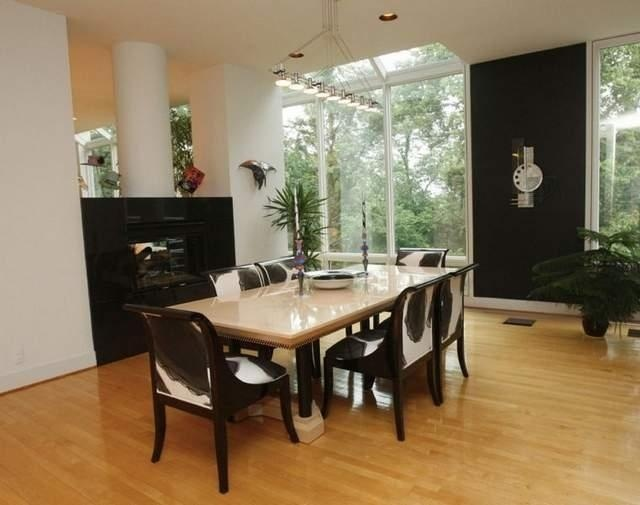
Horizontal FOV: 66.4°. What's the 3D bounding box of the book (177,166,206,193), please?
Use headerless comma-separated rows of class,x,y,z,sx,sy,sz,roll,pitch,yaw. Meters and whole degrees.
book,-1.591,-0.867,5.950,0.275,0.342,0.218,-7,13,-24

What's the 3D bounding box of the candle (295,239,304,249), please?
candle,-0.146,-0.060,3.534,0.062,0.073,0.067,-5,13,-19
